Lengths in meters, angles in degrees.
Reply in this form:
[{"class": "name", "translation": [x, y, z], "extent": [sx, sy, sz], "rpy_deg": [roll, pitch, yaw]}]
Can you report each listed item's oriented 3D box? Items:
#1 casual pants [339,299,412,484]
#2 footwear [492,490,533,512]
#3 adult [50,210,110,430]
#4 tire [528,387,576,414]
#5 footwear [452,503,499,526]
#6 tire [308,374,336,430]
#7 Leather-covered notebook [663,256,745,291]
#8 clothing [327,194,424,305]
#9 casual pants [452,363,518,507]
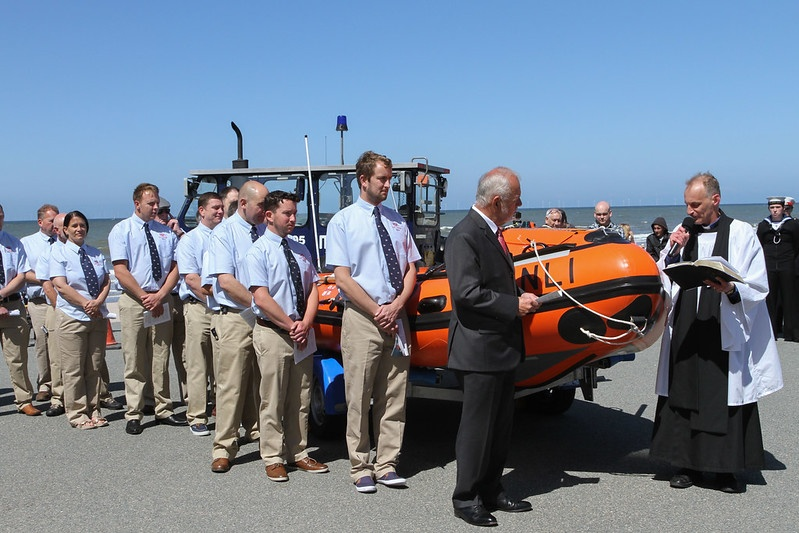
[{"class": "casual pants", "translation": [-0.214, 1.094, 5.848], "extent": [0.588, 1.527, 0.355], "rpy_deg": [-1, 9, -4]}, {"class": "footwear", "translation": [0.907, 1.951, 5.559], "extent": [0.400, 0.167, 0.130], "rpy_deg": [-3, -1, 7]}, {"class": "adult", "translation": [-3.466, 0.556, 7.294], "extent": [0.686, 2.309, 0.628], "rpy_deg": [5, 11, 33]}, {"class": "tire", "translation": [1.687, 1.506, 7.455], "extent": [0.433, 0.130, 0.424], "rpy_deg": [-3, 1, -32]}, {"class": "footwear", "translation": [0.606, 1.952, 5.298], "extent": [0.316, 0.130, 0.135], "rpy_deg": [1, 1, 38]}, {"class": "tire", "translation": [-0.836, 1.549, 7.153], "extent": [0.293, 0.749, 0.748], "rpy_deg": [-1, 11, -9]}, {"class": "Leather-covered notebook", "translation": [2.495, 0.062, 5.457], "extent": [0.608, 0.299, 0.320], "rpy_deg": [3, 10, 22]}, {"class": "clothing", "translation": [-0.188, -0.138, 6.008], "extent": [0.874, 0.901, 0.466], "rpy_deg": [-3, -9, -16]}, {"class": "casual pants", "translation": [0.683, 1.380, 5.375], "extent": [0.508, 1.142, 0.277], "rpy_deg": [-1, 9, 0]}]
